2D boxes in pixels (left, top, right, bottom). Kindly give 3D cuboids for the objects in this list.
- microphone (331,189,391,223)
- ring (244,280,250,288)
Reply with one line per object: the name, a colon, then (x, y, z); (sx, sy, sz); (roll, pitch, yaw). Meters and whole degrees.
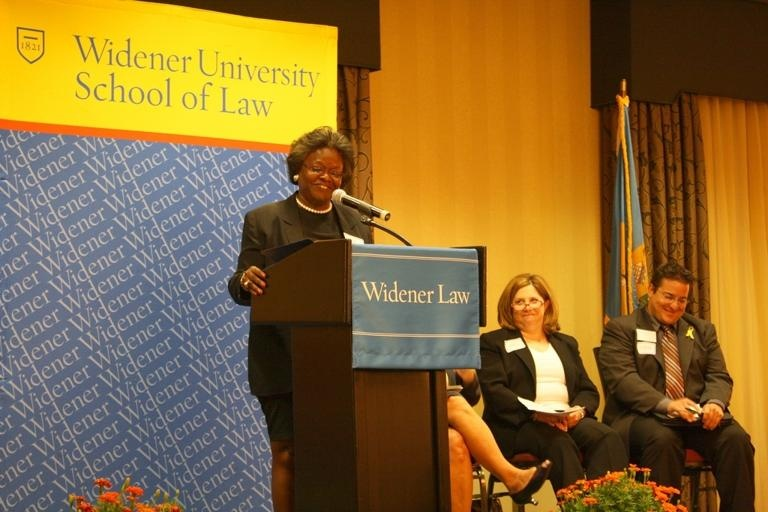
microphone: (-0.130, -0.267, 5.145); (0.268, 0.114, 0.377); (-4, 1, -6)
ring: (-0.705, 0.147, 5.053); (0.025, 0.039, 0.011); (2, -1, 9)
